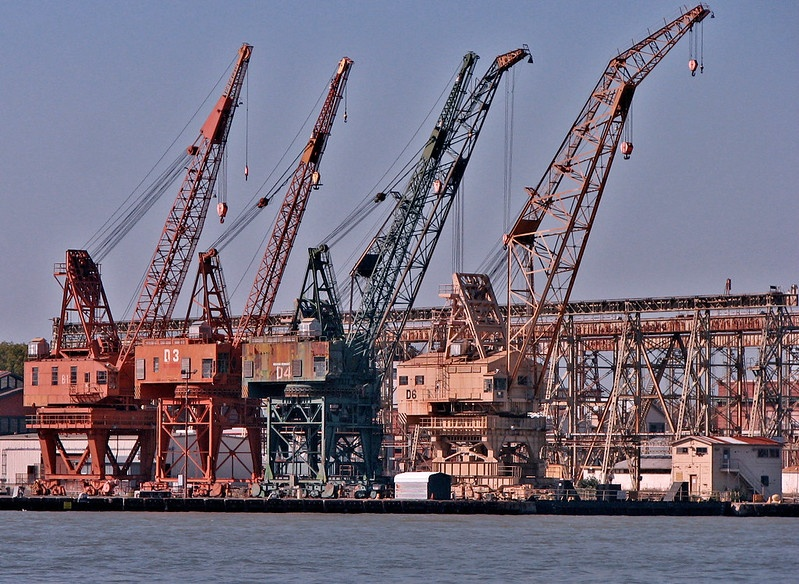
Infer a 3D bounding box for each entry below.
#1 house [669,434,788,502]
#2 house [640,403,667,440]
[{"bbox_3d":[26.615,14.295,169.764,8.356,5.340,2.438,-1,-9,-9],"label":"house"},{"bbox_3d":[24.214,12.427,200.943,2.360,2.513,4.112,1,-2,4],"label":"house"}]
